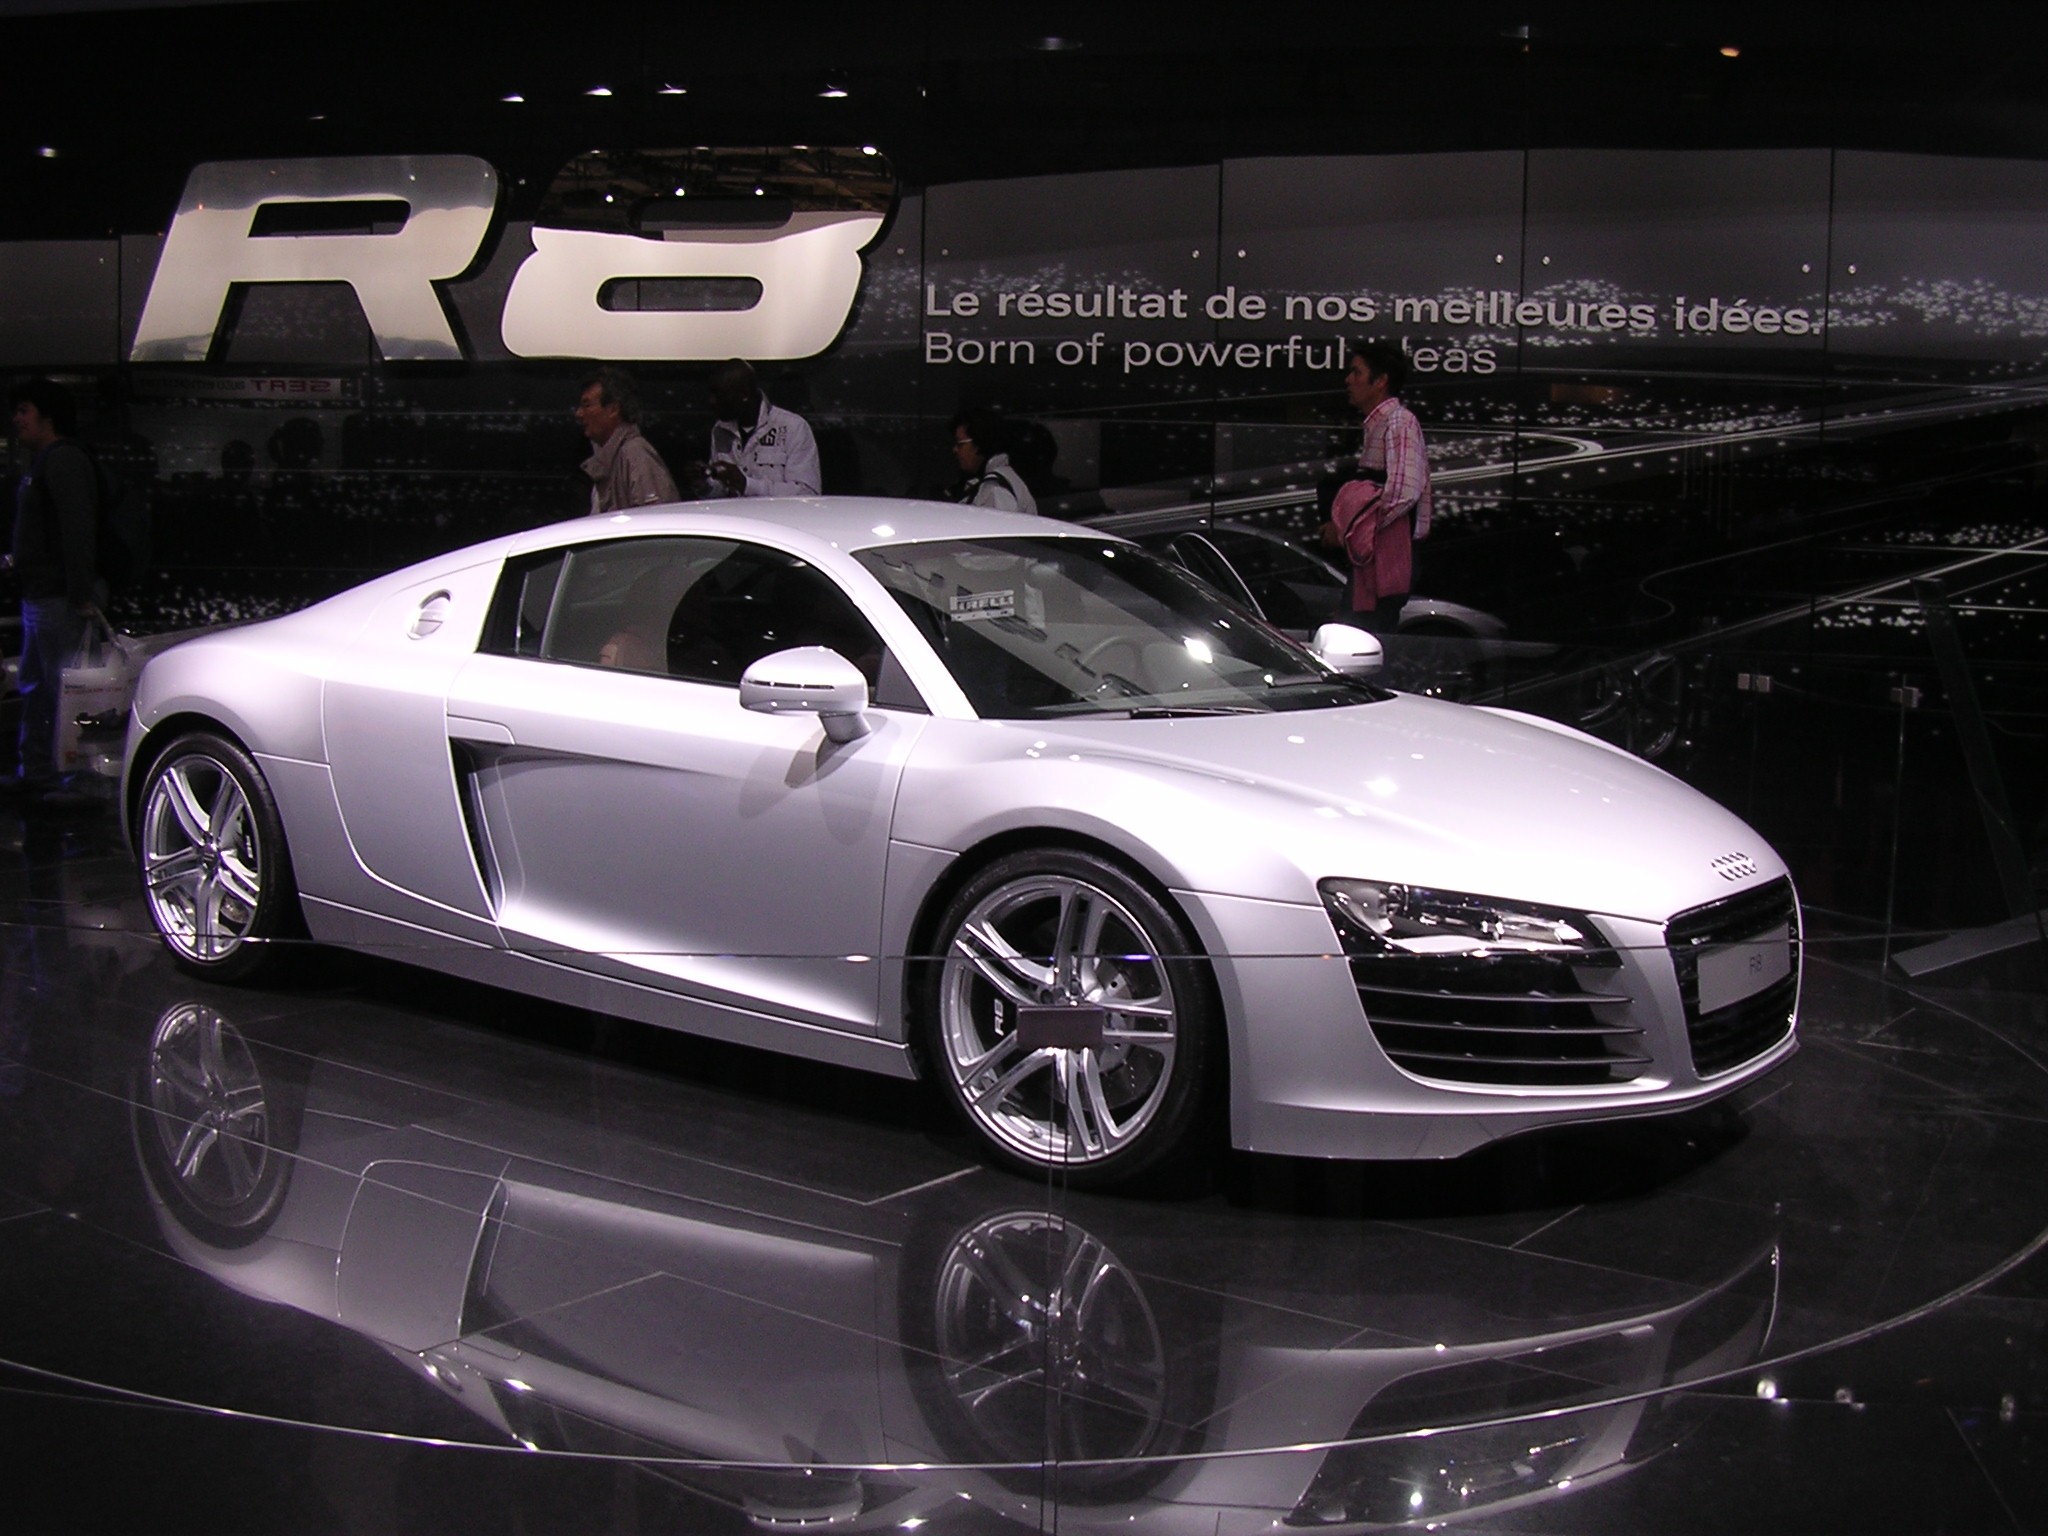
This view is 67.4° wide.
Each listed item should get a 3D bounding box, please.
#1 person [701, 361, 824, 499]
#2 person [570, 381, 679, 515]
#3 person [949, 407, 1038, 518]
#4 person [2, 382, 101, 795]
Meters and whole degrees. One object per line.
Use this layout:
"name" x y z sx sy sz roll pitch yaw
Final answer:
"person" -1.403 -1.763 8.143 0.855 0.741 0.533 16 25 40
"person" -1.918 -1.525 7.582 0.464 0.807 0.816 -9 17 -21
"person" -0.122 -1.492 7.794 0.393 0.724 0.541 -6 -4 8
"person" -4.815 -0.904 7.609 0.448 1.952 1.145 -4 10 -31
